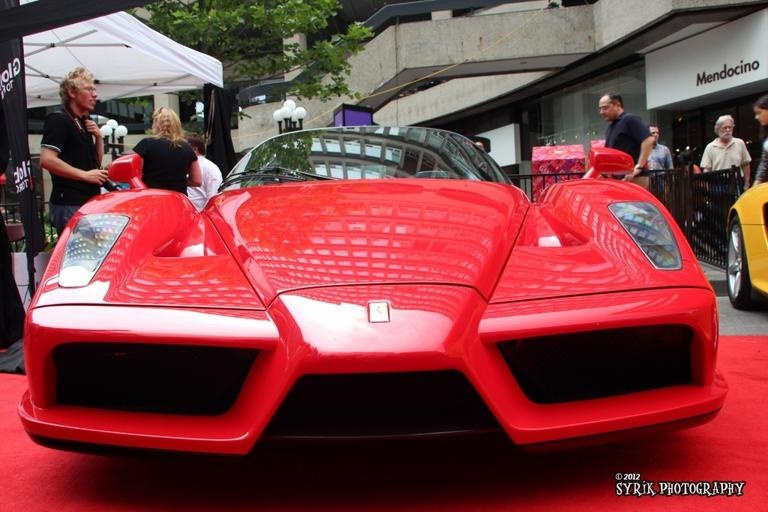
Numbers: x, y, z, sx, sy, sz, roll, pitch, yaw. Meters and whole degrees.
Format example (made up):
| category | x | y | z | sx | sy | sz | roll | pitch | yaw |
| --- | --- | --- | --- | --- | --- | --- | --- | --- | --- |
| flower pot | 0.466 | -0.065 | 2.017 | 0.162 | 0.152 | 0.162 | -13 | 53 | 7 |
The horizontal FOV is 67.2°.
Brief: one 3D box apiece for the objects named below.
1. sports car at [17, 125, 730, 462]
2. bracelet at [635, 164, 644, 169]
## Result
| category | x | y | z | sx | sy | sz | roll | pitch | yaw |
| --- | --- | --- | --- | --- | --- | --- | --- | --- | --- |
| sports car | -0.061 | 0.156 | 2.724 | 2.815 | 0.944 | 1.368 | -2 | 12 | 0 |
| bracelet | 2.597 | -0.903 | 5.893 | 0.069 | 0.023 | 0.070 | 0 | -8 | -2 |
